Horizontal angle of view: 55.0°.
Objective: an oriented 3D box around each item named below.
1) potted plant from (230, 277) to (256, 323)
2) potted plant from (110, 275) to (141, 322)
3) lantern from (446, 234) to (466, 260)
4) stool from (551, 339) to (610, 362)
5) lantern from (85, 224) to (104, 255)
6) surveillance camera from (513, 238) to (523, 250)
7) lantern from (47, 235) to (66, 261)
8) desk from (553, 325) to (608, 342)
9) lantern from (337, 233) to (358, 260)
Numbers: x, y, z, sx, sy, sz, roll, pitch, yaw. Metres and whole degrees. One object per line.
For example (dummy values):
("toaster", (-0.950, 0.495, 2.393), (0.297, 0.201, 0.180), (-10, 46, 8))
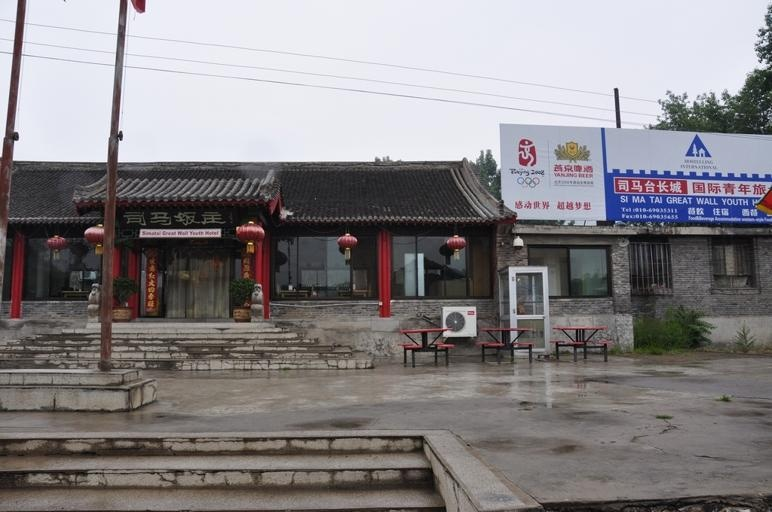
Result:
("potted plant", (-3.897, 1.230, 20.337), (0.880, 1.147, 0.708), (3, 11, 10))
("potted plant", (-7.252, 1.239, 20.562), (0.669, 1.289, 0.986), (-3, 11, -19))
("lantern", (2.050, -0.257, 21.326), (0.654, 0.758, 0.643), (-1, 1, 31))
("stool", (5.382, 2.485, 20.202), (1.052, 0.397, 0.996), (2, -7, -9))
("lantern", (-7.825, -0.416, 19.845), (0.441, 0.779, 0.727), (-3, 12, -21))
("surveillance camera", (3.811, -0.333, 21.424), (0.315, 0.314, 0.298), (1, 4, 0))
("lantern", (-9.496, -0.195, 21.375), (0.497, 0.735, 0.756), (-3, 12, -22))
("desk", (5.523, 2.209, 21.225), (0.984, 0.326, 0.960), (5, -9, -30))
("lantern", (-1.110, -0.212, 21.328), (0.571, 0.866, 0.863), (1, 11, -3))
